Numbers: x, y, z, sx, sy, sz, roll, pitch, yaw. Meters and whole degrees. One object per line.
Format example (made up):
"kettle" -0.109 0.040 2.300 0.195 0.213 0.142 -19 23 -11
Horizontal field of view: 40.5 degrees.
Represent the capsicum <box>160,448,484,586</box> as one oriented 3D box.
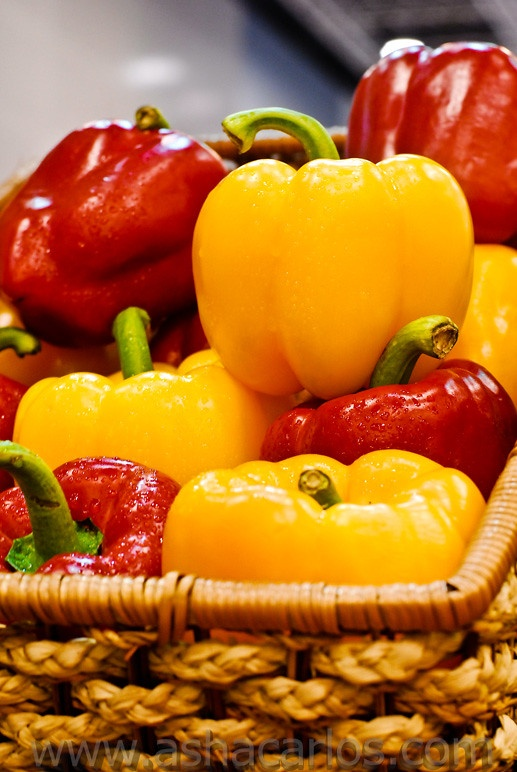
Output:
"capsicum" 0.053 0.052 0.450 0.121 0.056 0.122 -7 7 -37
